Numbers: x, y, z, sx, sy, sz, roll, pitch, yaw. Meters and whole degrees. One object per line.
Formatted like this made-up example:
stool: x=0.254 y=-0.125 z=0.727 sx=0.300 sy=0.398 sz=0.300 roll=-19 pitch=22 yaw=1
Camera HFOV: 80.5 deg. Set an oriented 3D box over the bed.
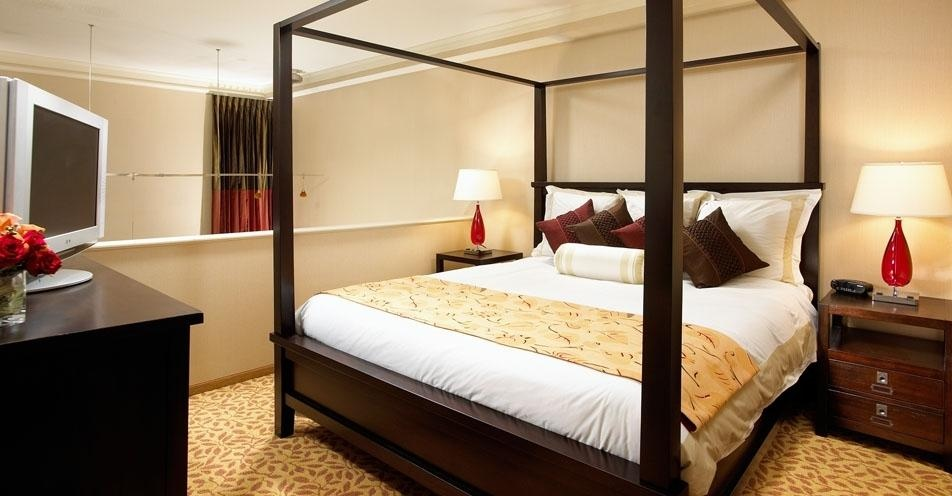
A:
bed: x=0.830 y=0.589 z=4.256 sx=4.305 sy=2.026 sz=2.195 roll=-2 pitch=9 yaw=-15
